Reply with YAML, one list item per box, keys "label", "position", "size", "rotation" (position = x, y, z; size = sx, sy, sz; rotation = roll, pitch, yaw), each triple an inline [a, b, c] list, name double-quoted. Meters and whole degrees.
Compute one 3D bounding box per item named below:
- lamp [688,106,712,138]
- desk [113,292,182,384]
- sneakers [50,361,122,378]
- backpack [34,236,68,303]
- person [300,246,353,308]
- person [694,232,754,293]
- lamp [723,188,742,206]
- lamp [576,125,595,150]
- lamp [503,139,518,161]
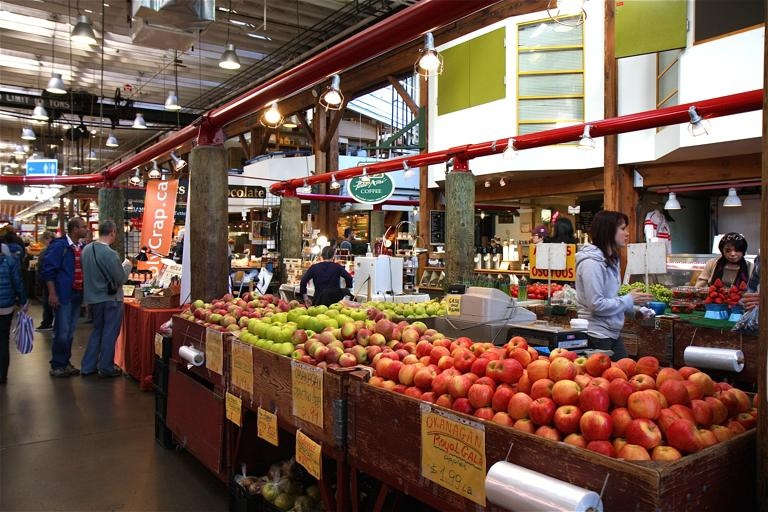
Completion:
- label: "lamp"
  position: [3.720, -1.607, 6.526]
  size: [0.211, 0.339, 0.492]
  rotation: [2, 3, 29]
- label: "desk"
  position: [-3.073, 1.144, 7.598]
  size: [0.737, 0.885, 1.234]
  rotation: [7, -2, -40]
- label: "sneakers"
  position: [-4.096, 1.560, 7.573]
  size: [0.427, 0.189, 0.148]
  rotation: [9, -9, -16]
- label: "backpack"
  position: [-4.463, 0.170, 7.554]
  size: [0.385, 0.904, 0.313]
  rotation: [-2, 3, -36]
- label: "person"
  position: [-0.877, 0.519, 8.405]
  size: [0.735, 1.363, 0.732]
  rotation: [5, 12, 0]
- label: "person"
  position: [3.733, 0.179, 6.007]
  size: [0.552, 0.837, 0.483]
  rotation: [7, 11, 39]
- label: "lamp"
  position: [7.011, -1.220, 11.095]
  size: [0.383, 0.381, 0.379]
  rotation: [4, 6, 16]
- label: "lamp"
  position: [2.657, -1.577, 7.244]
  size: [0.176, 0.324, 0.362]
  rotation: [1, 3, 20]
- label: "lamp"
  position: [1.815, -1.577, 7.879]
  size: [0.168, 0.292, 0.365]
  rotation: [1, 3, 12]
